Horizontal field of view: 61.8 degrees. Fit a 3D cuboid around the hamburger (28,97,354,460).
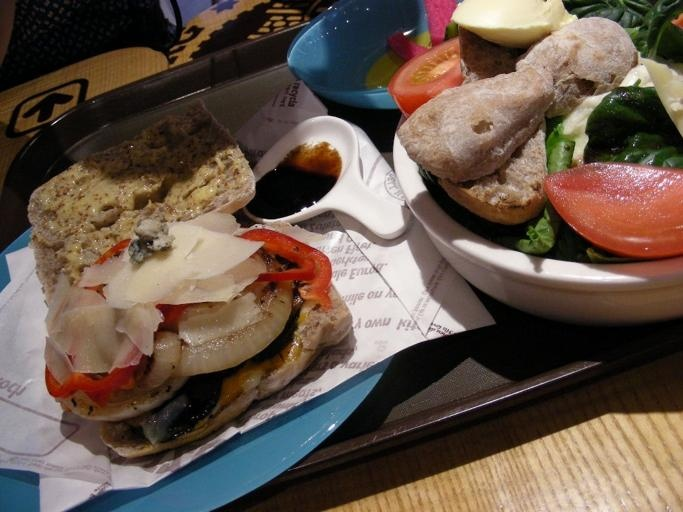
[{"bbox_3d":[-0.496,0.016,1.709,0.798,0.313,0.989,-26,55,-14],"label":"hamburger"}]
